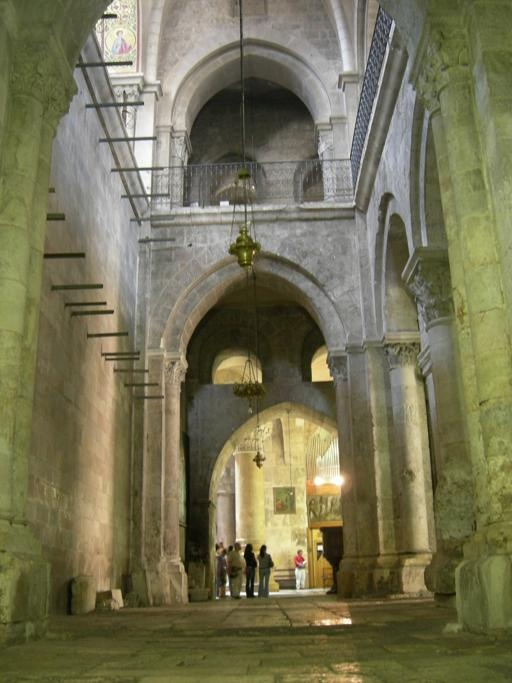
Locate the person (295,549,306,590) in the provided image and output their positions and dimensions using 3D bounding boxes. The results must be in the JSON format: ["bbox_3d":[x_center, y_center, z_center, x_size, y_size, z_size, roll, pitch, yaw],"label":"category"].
[{"bbox_3d":[1.456,7.520,20.323,0.294,1.237,1.225,-3,-18,1],"label":"person"}]

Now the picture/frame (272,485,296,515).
[{"bbox_3d":[1.004,5.676,21.950,0.570,1.039,0.120,-1,-28,0],"label":"picture/frame"}]

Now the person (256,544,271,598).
[{"bbox_3d":[0.189,5.007,13.604,0.254,1.258,0.318,0,12,1],"label":"person"}]
